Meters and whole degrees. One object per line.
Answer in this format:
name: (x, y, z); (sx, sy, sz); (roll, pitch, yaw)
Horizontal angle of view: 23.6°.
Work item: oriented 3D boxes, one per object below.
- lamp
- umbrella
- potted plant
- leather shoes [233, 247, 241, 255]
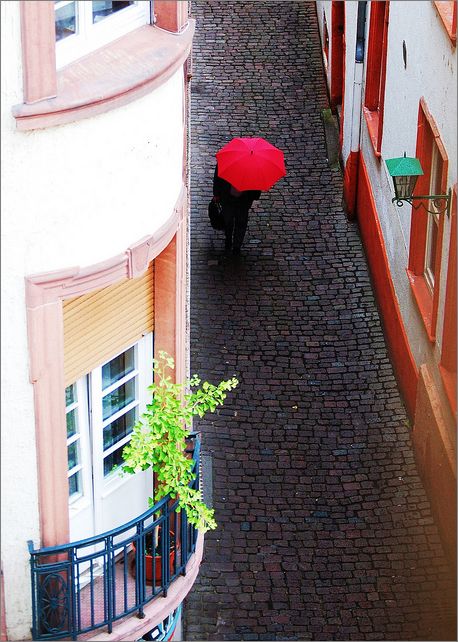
lamp: (1.761, -1.258, 10.016); (0.604, 0.766, 0.503); (2, 35, 4)
umbrella: (0.255, -1.919, 13.723); (0.774, 0.470, 1.022); (14, 40, 25)
potted plant: (-0.398, 1.172, 8.099); (0.723, 1.686, 0.980); (-8, 67, -6)
leather shoes: (0.100, -0.930, 14.558); (0.074, 0.094, 0.149); (5, -6, 3)
